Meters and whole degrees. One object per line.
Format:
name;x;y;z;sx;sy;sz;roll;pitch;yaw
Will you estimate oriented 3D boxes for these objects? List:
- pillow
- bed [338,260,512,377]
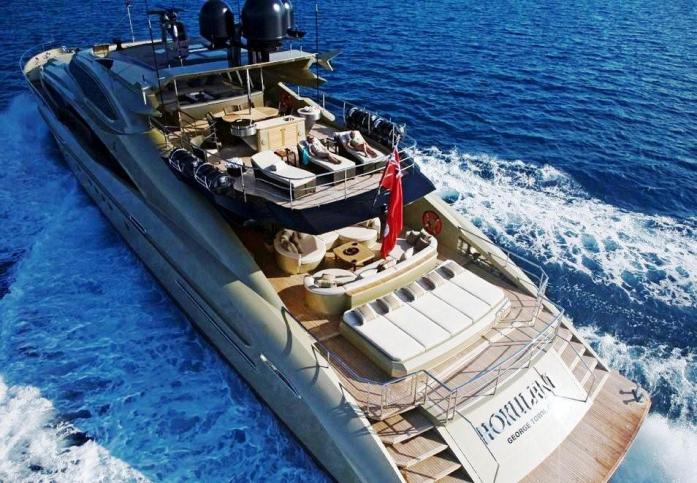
pillow;1.869;0.749;12.997;3.656;0.675;1.439;-19;34;-17
bed;1.950;1.969;13.519;3.538;0.911;2.174;-28;48;-27
